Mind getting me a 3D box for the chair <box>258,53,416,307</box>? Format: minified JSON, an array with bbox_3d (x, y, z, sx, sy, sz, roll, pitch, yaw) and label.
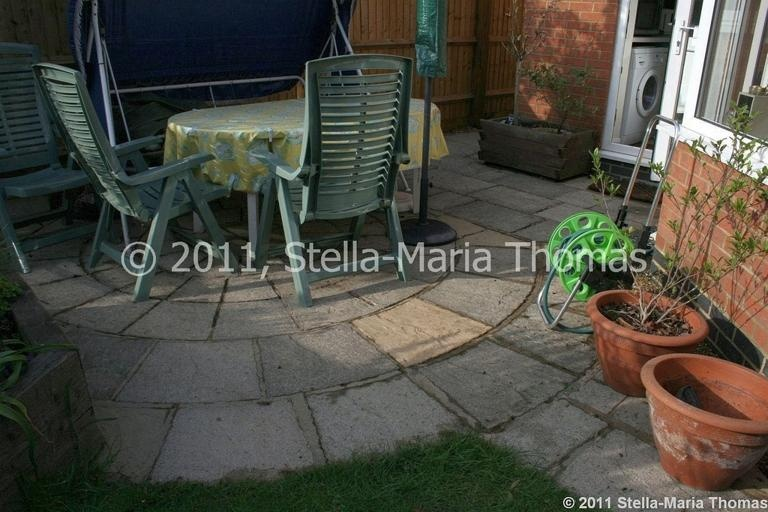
[{"bbox_3d":[-0.289,-0.598,3.333,1.092,1.645,0.881,-12,29,-19],"label":"chair"}]
